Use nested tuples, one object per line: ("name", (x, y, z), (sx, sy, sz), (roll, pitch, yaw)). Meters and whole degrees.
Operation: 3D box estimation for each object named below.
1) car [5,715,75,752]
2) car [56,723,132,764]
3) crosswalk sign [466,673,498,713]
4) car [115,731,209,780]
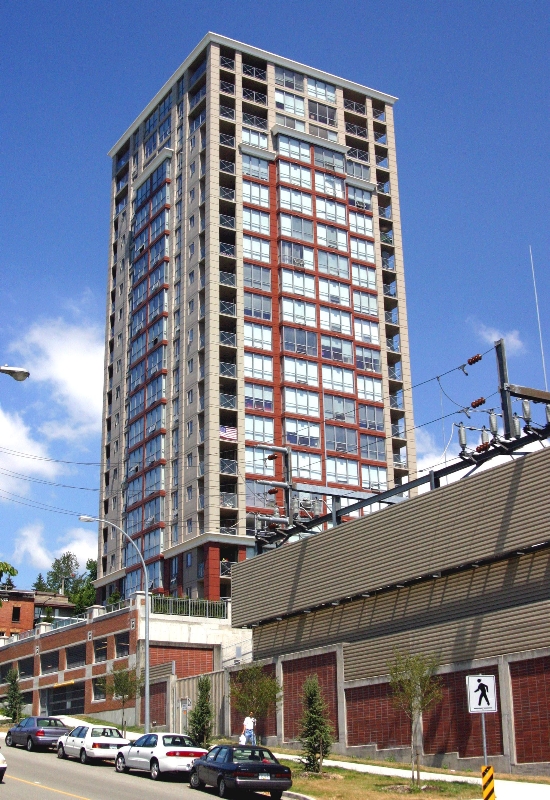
("car", (-8.902, 12.322, 37.118), (1.480, 0.908, 2.750), (11, -22, -28))
("car", (-6.147, 11.342, 33.172), (1.423, 0.983, 3.067), (11, -18, -29))
("crosswalk sign", (3.679, 5.217, 17.639), (0.460, 0.671, 1.063), (-7, -18, 12))
("car", (-3.197, 9.904, 27.618), (1.498, 0.959, 2.909), (15, -26, -31))
